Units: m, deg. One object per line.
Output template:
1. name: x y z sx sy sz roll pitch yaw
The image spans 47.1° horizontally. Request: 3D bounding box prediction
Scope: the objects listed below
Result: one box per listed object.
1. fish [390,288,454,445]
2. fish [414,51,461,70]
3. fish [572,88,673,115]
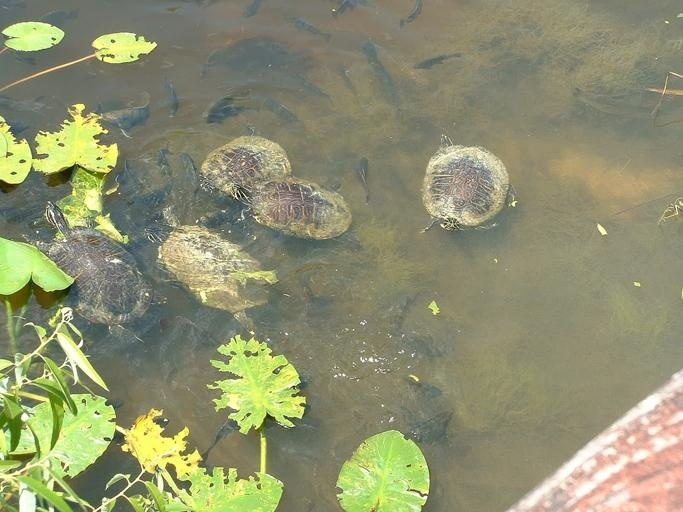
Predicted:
1. fish: 0.857 1.329 8.295 0.729 1.059 0.795 6 37 6
2. fish: 1.159 -2.361 9.568 0.680 0.033 0.200 -9 68 8
3. fish: 3.359 -1.828 9.277 1.105 0.086 0.317 2 68 -1
